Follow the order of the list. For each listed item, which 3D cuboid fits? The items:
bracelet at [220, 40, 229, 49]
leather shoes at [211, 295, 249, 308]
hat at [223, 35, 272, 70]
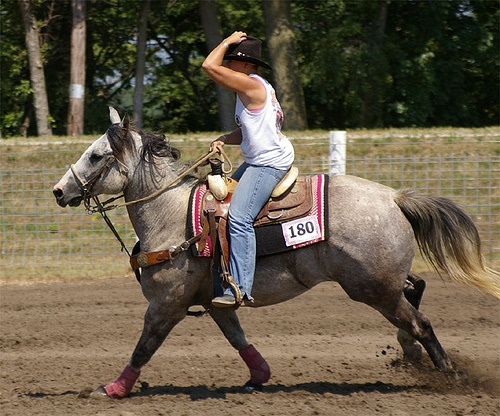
[{"bbox_3d":[-0.290,-1.922,10.577,0.087,0.131,0.141,7,-6,0],"label":"bracelet"},{"bbox_3d":[-0.213,1.101,10.579,0.460,0.097,0.161,11,-18,-34],"label":"leather shoes"},{"bbox_3d":[-0.026,-1.875,10.740,0.581,0.230,0.401,16,0,-12],"label":"hat"}]
